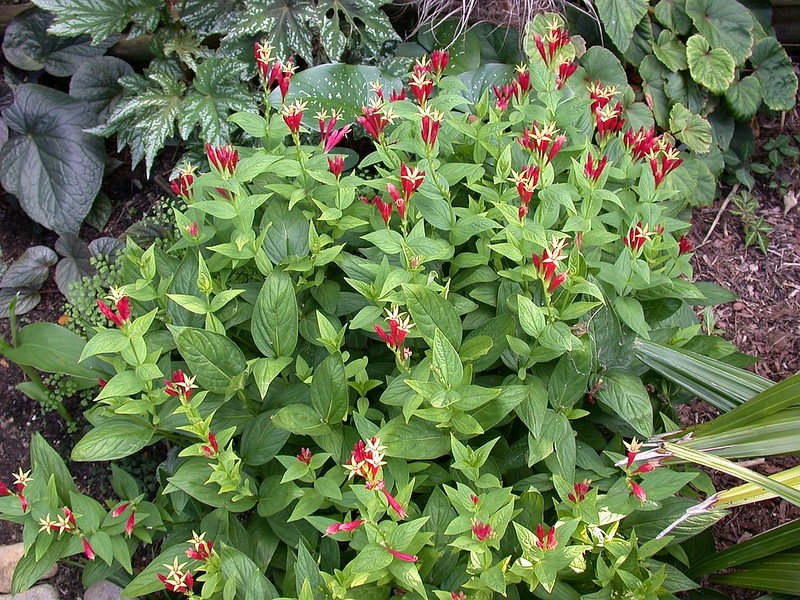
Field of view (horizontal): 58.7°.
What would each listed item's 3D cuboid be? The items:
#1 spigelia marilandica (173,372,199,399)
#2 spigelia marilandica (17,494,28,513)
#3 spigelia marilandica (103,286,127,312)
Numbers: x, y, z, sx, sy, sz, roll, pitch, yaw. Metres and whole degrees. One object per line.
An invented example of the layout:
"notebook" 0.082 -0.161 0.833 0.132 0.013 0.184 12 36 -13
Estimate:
"spigelia marilandica" -0.740 0.287 2.463 0.078 0.052 0.097 -31 103 -13
"spigelia marilandica" -1.363 0.734 2.560 0.015 0.069 0.021 8 37 27
"spigelia marilandica" -1.091 -0.004 2.721 0.077 0.042 0.094 -6 75 -3
